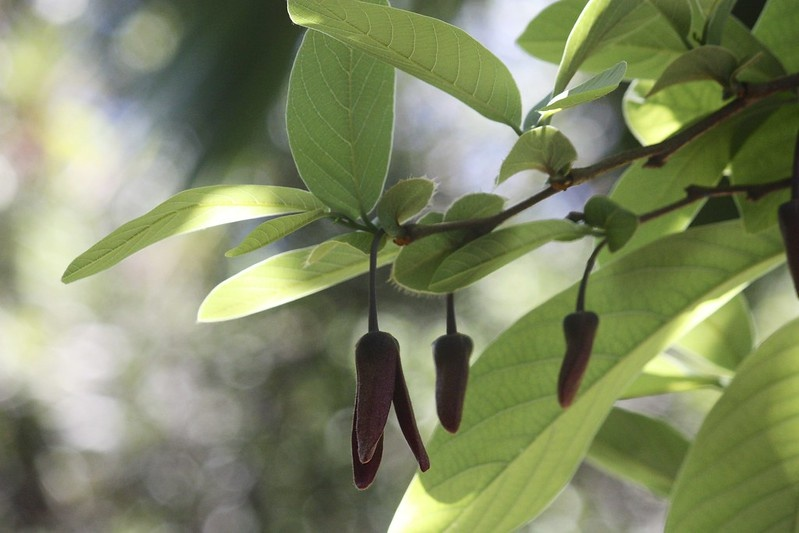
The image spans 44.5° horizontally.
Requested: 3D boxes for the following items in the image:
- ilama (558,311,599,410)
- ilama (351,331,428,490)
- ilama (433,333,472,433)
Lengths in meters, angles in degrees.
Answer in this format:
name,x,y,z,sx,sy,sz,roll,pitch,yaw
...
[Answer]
name,x,y,z,sx,sy,sz,roll,pitch,yaw
ilama,0.253,0.133,1.408,0.068,0.132,0.074,-1,4,15
ilama,-0.025,0.192,1.394,0.118,0.221,0.108,-11,-37,21
ilama,0.079,0.169,1.439,0.061,0.148,0.057,2,-6,11
